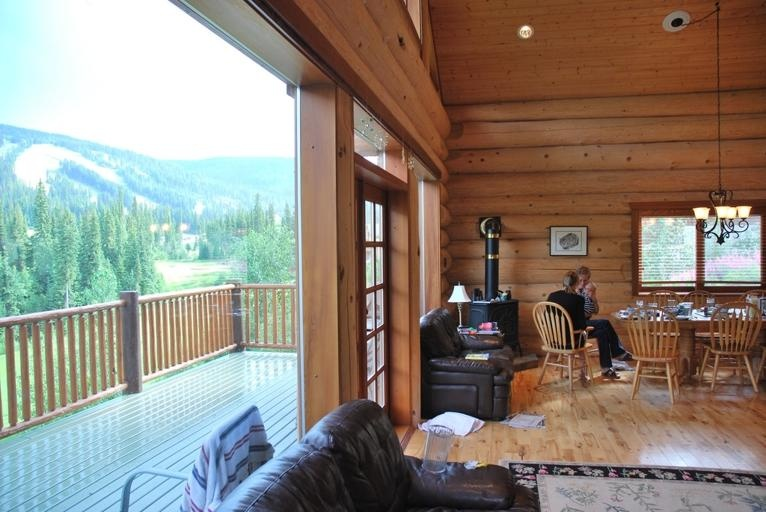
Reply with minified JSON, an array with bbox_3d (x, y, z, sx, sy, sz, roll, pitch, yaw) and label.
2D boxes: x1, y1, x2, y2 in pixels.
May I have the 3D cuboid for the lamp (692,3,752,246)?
[{"bbox_3d":[4.964,-1.803,7.466,0.645,3.429,2.125,5,9,33],"label":"lamp"}]

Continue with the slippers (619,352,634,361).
[{"bbox_3d":[3.650,1.530,7.829,0.240,0.131,0.131,-4,6,-19],"label":"slippers"}]

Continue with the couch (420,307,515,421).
[{"bbox_3d":[1.005,1.374,6.344,1.125,1.061,1.773,-1,-1,12],"label":"couch"}]

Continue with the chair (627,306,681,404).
[{"bbox_3d":[3.504,1.158,6.714,0.615,1.253,1.402,4,9,30],"label":"chair"}]

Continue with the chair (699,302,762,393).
[{"bbox_3d":[4.587,1.132,6.858,0.672,1.265,1.531,4,9,31],"label":"chair"}]

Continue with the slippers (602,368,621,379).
[{"bbox_3d":[3.209,1.671,7.412,0.296,0.115,0.106,-2,0,28],"label":"slippers"}]
